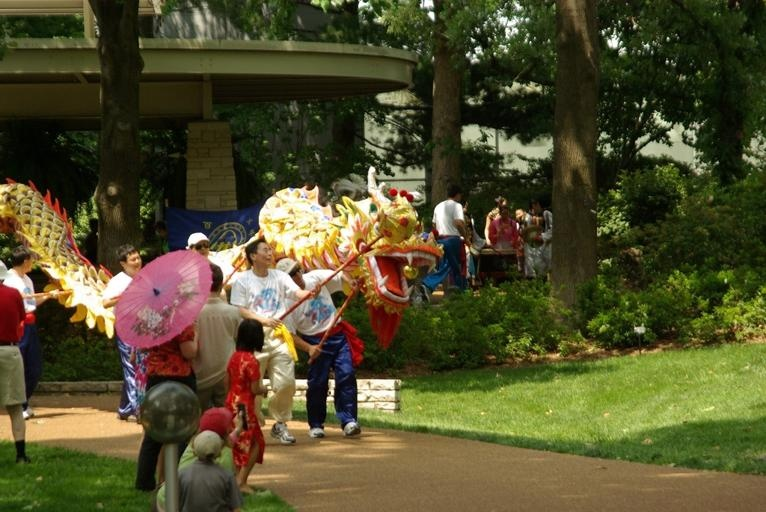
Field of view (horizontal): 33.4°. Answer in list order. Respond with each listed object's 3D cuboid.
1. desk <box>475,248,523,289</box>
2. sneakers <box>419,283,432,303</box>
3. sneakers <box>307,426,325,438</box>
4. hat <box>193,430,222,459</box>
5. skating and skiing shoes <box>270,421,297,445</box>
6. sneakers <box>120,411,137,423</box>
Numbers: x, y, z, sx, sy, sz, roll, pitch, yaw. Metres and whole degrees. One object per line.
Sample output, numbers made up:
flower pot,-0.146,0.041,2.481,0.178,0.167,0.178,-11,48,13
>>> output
desk,2.812,0.178,30.809,1.229,0.613,1.273,0,2,38
sneakers,0.918,0.783,27.263,0.204,0.171,0.493,-2,41,-12
sneakers,-1.026,2.771,19.923,0.110,0.121,0.260,3,-11,-27
hat,-2.218,2.420,16.178,0.277,0.372,0.212,5,-15,-19
skating and skiing shoes,-1.541,2.739,19.619,0.516,0.276,0.188,11,13,42
sneakers,-4.157,2.650,20.848,0.356,0.158,0.125,1,1,15
